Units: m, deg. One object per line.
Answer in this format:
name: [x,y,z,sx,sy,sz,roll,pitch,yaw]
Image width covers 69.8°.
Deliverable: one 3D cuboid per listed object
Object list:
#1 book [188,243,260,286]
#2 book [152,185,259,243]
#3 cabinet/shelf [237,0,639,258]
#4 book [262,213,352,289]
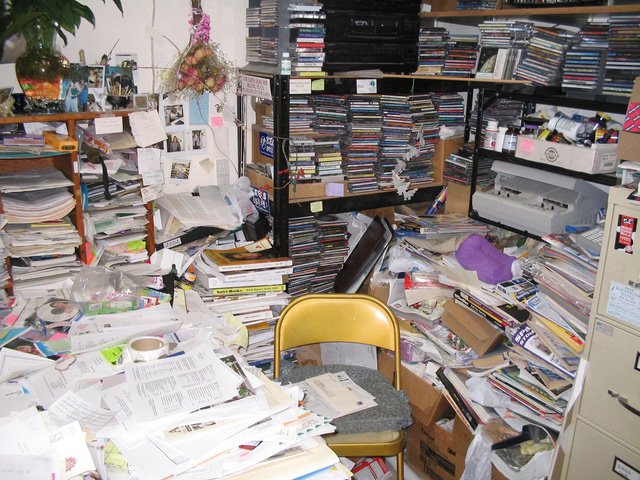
book: [-0.539,0.144,2.653,0.362,0.153,0.266,-9,22,-20]
book: [-0.660,-0.182,2.670,0.453,0.137,0.405,-10,31,-29]
cabinet/shelf: [0.591,-0.625,2.494,2.124,1.457,0.556,2,7,-13]
book: [-0.104,0.059,2.828,0.533,0.164,0.587,-2,12,1]
